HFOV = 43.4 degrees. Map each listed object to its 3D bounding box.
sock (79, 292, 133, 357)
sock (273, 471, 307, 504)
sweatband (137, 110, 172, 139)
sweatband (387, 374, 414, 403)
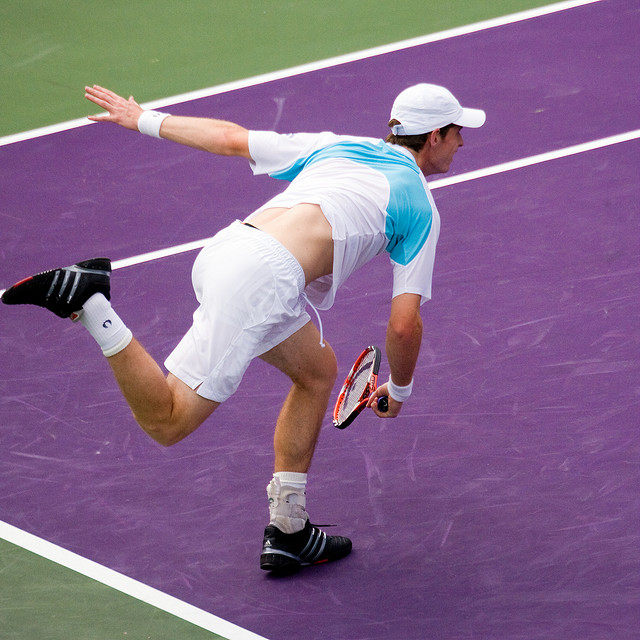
[{"bbox_3d":[-0.885,0.021,3.302,0.142,0.213,0.223,-28,40,-29],"label":"sock"},{"bbox_3d":[-0.146,0.819,4.000,0.149,0.136,0.135,8,-4,4],"label":"sock"},{"bbox_3d":[-0.881,-1.044,4.296,0.155,0.130,0.130,12,52,25],"label":"sweatband"},{"bbox_3d":[0.414,0.356,4.093,0.115,0.098,0.140,12,79,1],"label":"sweatband"}]
